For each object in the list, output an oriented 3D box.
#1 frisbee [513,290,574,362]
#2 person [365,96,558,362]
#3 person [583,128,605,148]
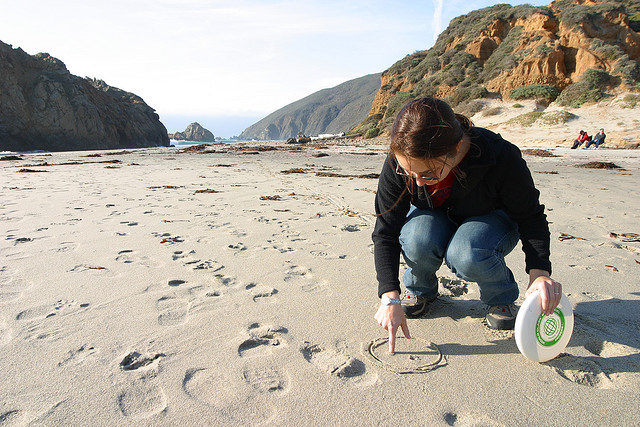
[{"bbox_3d":[1.410,0.717,2.572,0.410,0.500,0.139,-8,18,-15],"label":"frisbee"},{"bbox_3d":[0.924,0.052,2.754,1.209,1.643,0.819,-2,17,5],"label":"person"},{"bbox_3d":[11.381,-3.045,16.585,0.508,0.719,0.639,-4,16,-2],"label":"person"}]
